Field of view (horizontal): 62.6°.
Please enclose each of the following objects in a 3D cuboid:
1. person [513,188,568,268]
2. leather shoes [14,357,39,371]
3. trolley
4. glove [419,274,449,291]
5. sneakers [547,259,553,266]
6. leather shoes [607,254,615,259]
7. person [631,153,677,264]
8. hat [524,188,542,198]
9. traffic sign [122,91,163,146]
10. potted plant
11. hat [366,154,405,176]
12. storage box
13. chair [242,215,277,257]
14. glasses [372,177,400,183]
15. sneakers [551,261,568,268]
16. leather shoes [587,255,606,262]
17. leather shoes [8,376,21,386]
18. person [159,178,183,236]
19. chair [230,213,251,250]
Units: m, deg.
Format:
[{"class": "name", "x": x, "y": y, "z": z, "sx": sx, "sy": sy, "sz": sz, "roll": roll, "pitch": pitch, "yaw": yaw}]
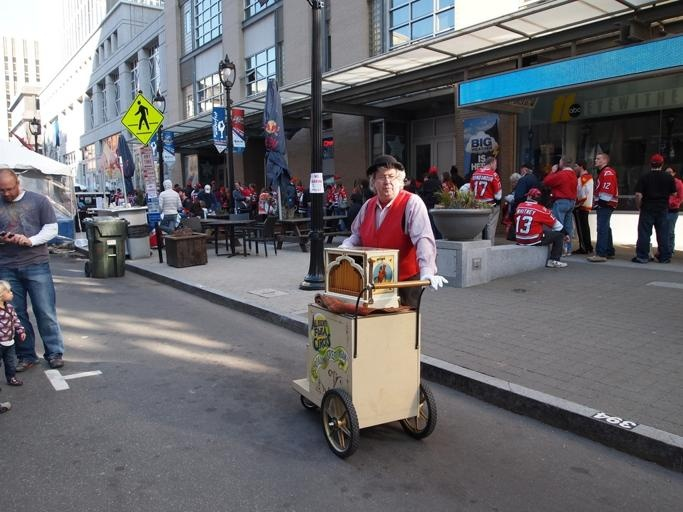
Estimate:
[{"class": "person", "x": 4.221, "y": -0.609, "z": 11.894, "sx": 1.098, "sy": 1.627, "sz": 0.912, "roll": 0, "pitch": 7, "yaw": 5}, {"class": "leather shoes", "x": -3.805, "y": 1.313, "z": 6.788, "sx": 0.088, "sy": 0.128, "sz": 0.262, "roll": 1, "pitch": -3, "yaw": 10}, {"class": "trolley", "x": 0.187, "y": 0.912, "z": 5.433, "sx": 0.947, "sy": 1.746, "sz": 1.409, "roll": -3, "pitch": 8, "yaw": -27}, {"class": "glove", "x": 0.833, "y": 0.225, "z": 5.119, "sx": 0.212, "sy": 0.148, "sz": 0.351, "roll": 0, "pitch": 6, "yaw": 6}, {"class": "sneakers", "x": 4.404, "y": 0.128, "z": 11.813, "sx": 0.110, "sy": 0.142, "sz": 0.331, "roll": -3, "pitch": -4, "yaw": 16}, {"class": "leather shoes", "x": 6.045, "y": 0.004, "z": 12.499, "sx": 0.063, "sy": 0.086, "sz": 0.173, "roll": 3, "pitch": 9, "yaw": 38}, {"class": "person", "x": 6.475, "y": -0.812, "z": 11.574, "sx": 0.686, "sy": 1.925, "sz": 0.591, "roll": 3, "pitch": 8, "yaw": 30}, {"class": "hat", "x": 4.213, "y": -1.380, "z": 12.324, "sx": 0.203, "sy": 0.187, "sz": 0.313, "roll": -9, "pitch": 6, "yaw": -5}, {"class": "traffic sign", "x": -5.083, "y": -3.542, "z": 14.353, "sx": 0.926, "sy": 1.309, "sz": 0.797, "roll": -4, "pitch": 7, "yaw": -23}, {"class": "potted plant", "x": 2.292, "y": -0.850, "z": 10.590, "sx": 0.947, "sy": 0.867, "sz": 1.016, "roll": 0, "pitch": 1, "yaw": 12}, {"class": "hat", "x": 0.423, "y": -0.878, "z": 5.376, "sx": 0.339, "sy": 0.195, "sz": 0.233, "roll": -1, "pitch": 6, "yaw": 3}, {"class": "storage box", "x": 0.197, "y": 0.165, "z": 5.175, "sx": 0.457, "sy": 0.612, "sz": 0.753, "roll": 0, "pitch": 1, "yaw": -33}, {"class": "chair", "x": -2.300, "y": -0.671, "z": 16.186, "sx": 0.897, "sy": 1.077, "sz": 3.405, "roll": -2, "pitch": 6, "yaw": -6}, {"class": "glasses", "x": 0.465, "y": -0.733, "z": 5.332, "sx": 0.219, "sy": 0.063, "sz": 0.068, "roll": -4, "pitch": 7, "yaw": -21}, {"class": "sneakers", "x": 4.601, "y": 0.185, "z": 11.797, "sx": 0.311, "sy": 0.152, "sz": 0.121, "roll": -2, "pitch": 13, "yaw": -17}, {"class": "leather shoes", "x": 5.523, "y": 0.038, "z": 12.240, "sx": 0.428, "sy": 0.211, "sz": 0.171, "roll": 4, "pitch": 4, "yaw": 11}, {"class": "leather shoes", "x": -3.698, "y": 1.401, "z": 6.323, "sx": 0.182, "sy": 0.089, "sz": 0.069, "roll": 2, "pitch": 14, "yaw": 4}, {"class": "person", "x": -4.781, "y": -1.412, "z": 15.712, "sx": 0.574, "sy": 1.467, "sz": 1.150, "roll": -3, "pitch": 7, "yaw": -17}, {"class": "chair", "x": -3.057, "y": -0.838, "z": 17.123, "sx": 0.863, "sy": 1.286, "sz": 1.000, "roll": 0, "pitch": -1, "yaw": 0}]
